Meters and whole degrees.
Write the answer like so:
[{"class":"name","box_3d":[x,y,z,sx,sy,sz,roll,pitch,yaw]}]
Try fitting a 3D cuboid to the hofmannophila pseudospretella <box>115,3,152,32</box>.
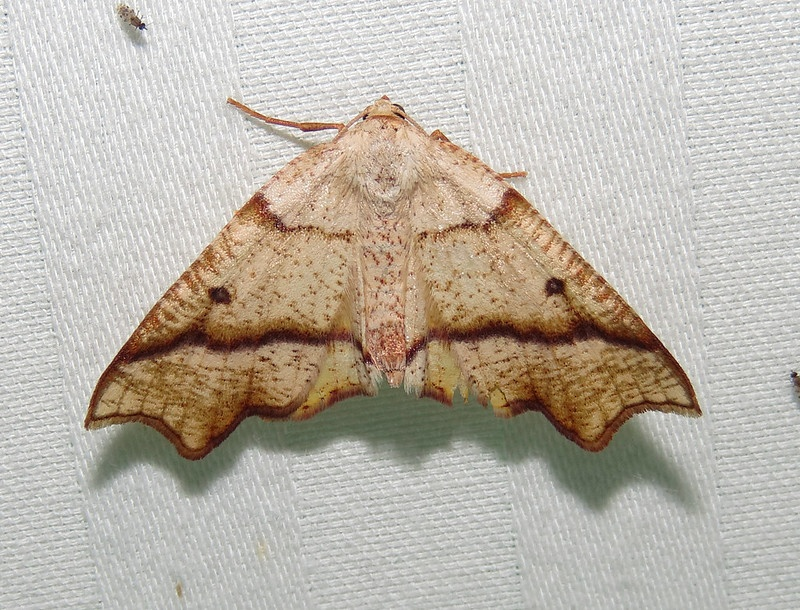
[{"class":"hofmannophila pseudospretella","box_3d":[-0.743,-0.791,2.871,0.050,0.087,0.026,-45,24,1]}]
